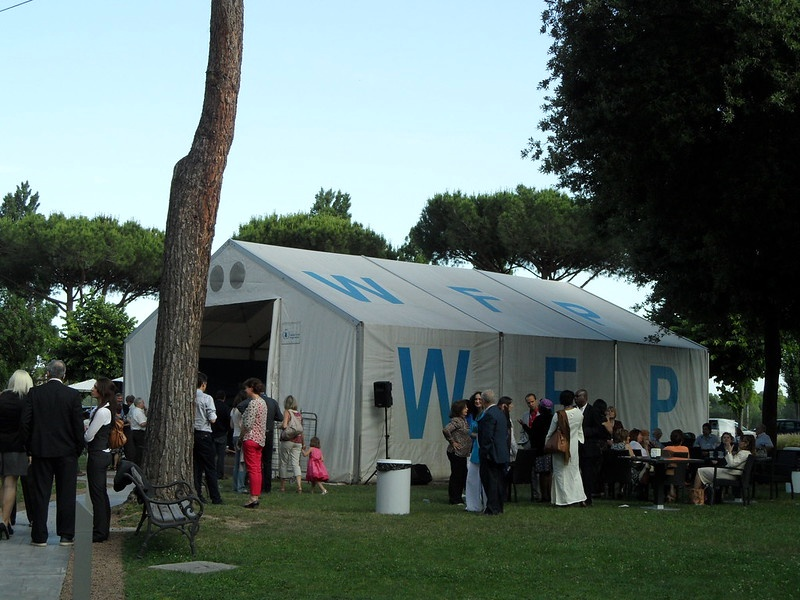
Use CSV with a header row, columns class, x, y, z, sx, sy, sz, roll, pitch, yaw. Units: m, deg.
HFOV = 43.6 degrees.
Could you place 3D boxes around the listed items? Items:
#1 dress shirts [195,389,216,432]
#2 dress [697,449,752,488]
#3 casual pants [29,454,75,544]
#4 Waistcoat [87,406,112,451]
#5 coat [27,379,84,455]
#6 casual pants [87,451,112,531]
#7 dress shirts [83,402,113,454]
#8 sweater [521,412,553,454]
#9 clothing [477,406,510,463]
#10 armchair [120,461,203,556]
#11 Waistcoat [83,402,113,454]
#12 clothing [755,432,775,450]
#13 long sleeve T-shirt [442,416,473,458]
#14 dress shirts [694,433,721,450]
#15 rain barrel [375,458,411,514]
class,x,y,z,sx,sy,sz,roll,pitch,yaw
dress shirts,-3.337,1.925,17.076,0.473,0.744,0.360,-1,-2,31
dress,6.058,3.178,18.824,0.934,0.783,0.525,0,-4,21
casual pants,-4.759,2.746,13.776,0.753,1.208,0.635,2,4,-1
Waistcoat,-4.177,1.795,13.890,0.343,0.665,0.224,0,4,-20
coat,-4.787,1.592,13.848,0.770,1.188,0.403,1,17,-20
casual pants,-4.152,2.709,13.867,0.395,1.244,0.341,-2,5,-43
dress shirts,-4.165,1.770,14.004,0.436,0.925,0.661,6,-12,-17
sweater,2.531,2.471,18.527,0.390,0.737,0.495,30,-28,-24
clothing,1.591,2.232,16.993,0.467,0.997,0.784,2,1,28
armchair,-3.391,2.913,14.237,1.093,1.181,2.012,0,-3,-14
Waistcoat,-4.229,1.729,13.985,0.311,0.663,0.470,8,0,-28
clothing,7.747,3.030,21.424,0.455,0.436,0.283,0,1,3
long sleeve T-shirt,1.090,2.482,18.200,0.371,0.748,0.677,-7,-15,37
dress shirts,6.581,3.069,21.479,0.581,0.539,0.328,-5,-24,24
rain barrel,-0.213,3.148,16.907,0.723,1.152,0.727,0,-10,0
